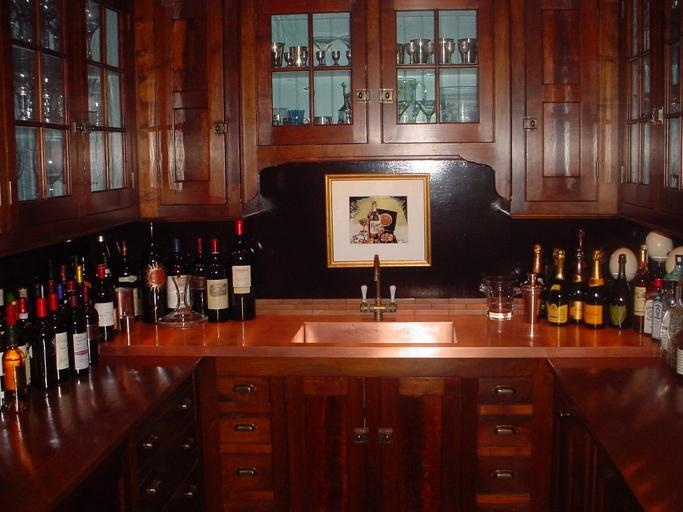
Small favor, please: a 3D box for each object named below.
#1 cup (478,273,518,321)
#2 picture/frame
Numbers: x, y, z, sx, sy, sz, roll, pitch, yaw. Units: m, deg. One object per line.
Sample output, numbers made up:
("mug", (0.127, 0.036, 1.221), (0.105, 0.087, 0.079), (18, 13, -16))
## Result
("cup", (0.797, 0.207, 3.172), (0.170, 0.211, 0.206), (0, 9, 12))
("picture/frame", (0.207, -0.207, 3.288), (0.531, 0.465, 0.039), (-1, 8, 3))
